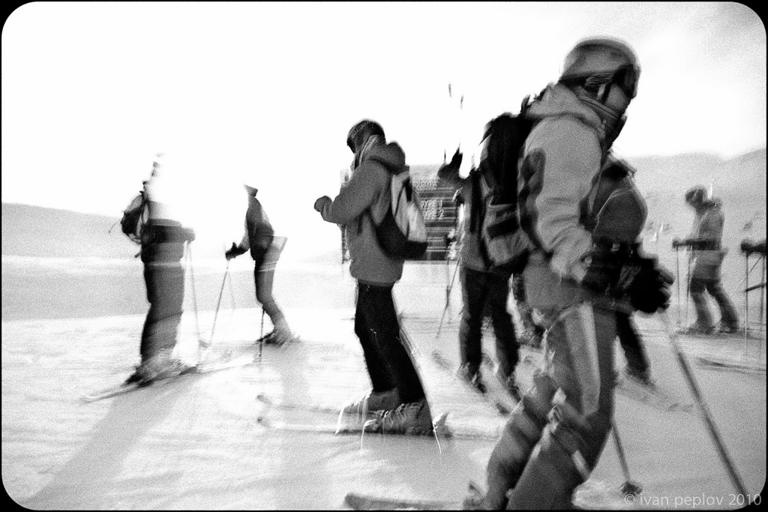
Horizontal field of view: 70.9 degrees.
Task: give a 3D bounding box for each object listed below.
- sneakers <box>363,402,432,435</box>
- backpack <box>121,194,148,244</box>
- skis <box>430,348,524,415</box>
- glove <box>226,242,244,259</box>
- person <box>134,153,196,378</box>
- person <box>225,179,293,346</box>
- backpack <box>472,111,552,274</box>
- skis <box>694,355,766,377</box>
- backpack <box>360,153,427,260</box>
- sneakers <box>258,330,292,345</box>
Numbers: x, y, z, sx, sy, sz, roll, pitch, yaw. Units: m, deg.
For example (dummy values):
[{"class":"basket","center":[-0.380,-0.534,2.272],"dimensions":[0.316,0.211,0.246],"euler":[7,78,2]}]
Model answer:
[{"class":"sneakers","center":[0.133,1.401,4.621],"dimensions":[0.688,0.267,0.216],"euler":[-2,-9,22]},{"class":"backpack","center":[-2.681,-0.405,5.754],"dimensions":[0.322,0.563,0.085],"euler":[1,11,9]},{"class":"skis","center":[0.931,1.278,5.492],"dimensions":[0.238,0.294,1.095],"euler":[25,2,-44]},{"class":"glove","center":[-1.936,-0.056,6.939],"dimensions":[0.076,0.193,0.191],"euler":[36,-19,35]},{"class":"person","center":[-2.465,0.112,5.869],"dimensions":[0.324,2.391,0.807],"euler":[8,14,37]},{"class":"person","center":[-1.672,0.131,7.277],"dimensions":[0.811,2.167,0.406],"euler":[-5,12,-22]},{"class":"backpack","center":[1.068,-0.577,4.873],"dimensions":[0.418,1.134,0.862],"euler":[-4,33,3]},{"class":"skis","center":[4.200,1.325,6.470],"dimensions":[1.183,0.168,0.147],"euler":[3,30,-9]},{"class":"backpack","center":[0.119,-0.390,4.524],"dimensions":[0.480,0.861,0.221],"euler":[-2,11,-4]},{"class":"sneakers","center":[-1.511,1.133,7.485],"dimensions":[0.526,0.214,0.176],"euler":[4,-12,0]}]
